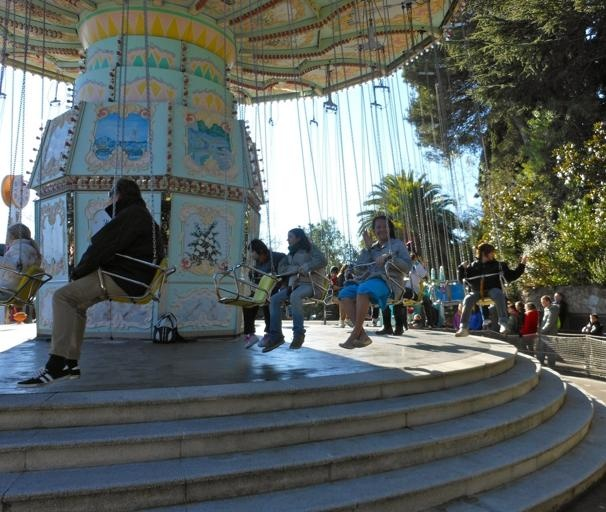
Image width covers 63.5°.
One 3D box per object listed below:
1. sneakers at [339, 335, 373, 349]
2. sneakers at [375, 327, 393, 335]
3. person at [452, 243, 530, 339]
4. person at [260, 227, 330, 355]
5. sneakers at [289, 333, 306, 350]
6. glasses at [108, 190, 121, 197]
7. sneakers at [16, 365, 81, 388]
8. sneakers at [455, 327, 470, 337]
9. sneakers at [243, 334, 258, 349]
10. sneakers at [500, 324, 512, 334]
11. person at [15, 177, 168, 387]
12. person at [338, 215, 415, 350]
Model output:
[{"bbox_3d":[0.629,1.086,6.198,0.478,0.160,0.247,2,0,-26],"label":"sneakers"},{"bbox_3d":[1.741,1.625,10.546,0.360,0.153,0.139,8,-25,-5],"label":"sneakers"},{"bbox_3d":[3.416,0.567,8.831,1.253,1.910,0.738,-10,-44,29],"label":"person"},{"bbox_3d":[-0.083,0.465,6.997,0.791,1.663,0.794,2,0,9],"label":"person"},{"bbox_3d":[-0.082,1.175,6.726,0.175,0.206,0.260,2,0,0],"label":"sneakers"},{"bbox_3d":[-2.095,-0.693,5.432,0.078,0.088,0.101,-2,-12,23],"label":"glasses"},{"bbox_3d":[-2.383,1.119,4.636,0.530,0.209,0.181,7,-11,-39],"label":"sneakers"},{"bbox_3d":[3.104,1.460,9.476,0.267,0.181,0.160,12,-14,-16],"label":"sneakers"},{"bbox_3d":[-0.901,1.416,8.168,0.136,0.156,0.369,-42,0,-36],"label":"sneakers"},{"bbox_3d":[3.726,1.345,9.044,0.142,0.169,0.368,2,0,20],"label":"sneakers"},{"bbox_3d":[-2.138,0.175,5.133,1.305,2.048,0.762,-2,-9,-18],"label":"person"},{"bbox_3d":[0.991,0.304,6.853,0.973,1.925,0.955,5,-21,-5],"label":"person"}]
